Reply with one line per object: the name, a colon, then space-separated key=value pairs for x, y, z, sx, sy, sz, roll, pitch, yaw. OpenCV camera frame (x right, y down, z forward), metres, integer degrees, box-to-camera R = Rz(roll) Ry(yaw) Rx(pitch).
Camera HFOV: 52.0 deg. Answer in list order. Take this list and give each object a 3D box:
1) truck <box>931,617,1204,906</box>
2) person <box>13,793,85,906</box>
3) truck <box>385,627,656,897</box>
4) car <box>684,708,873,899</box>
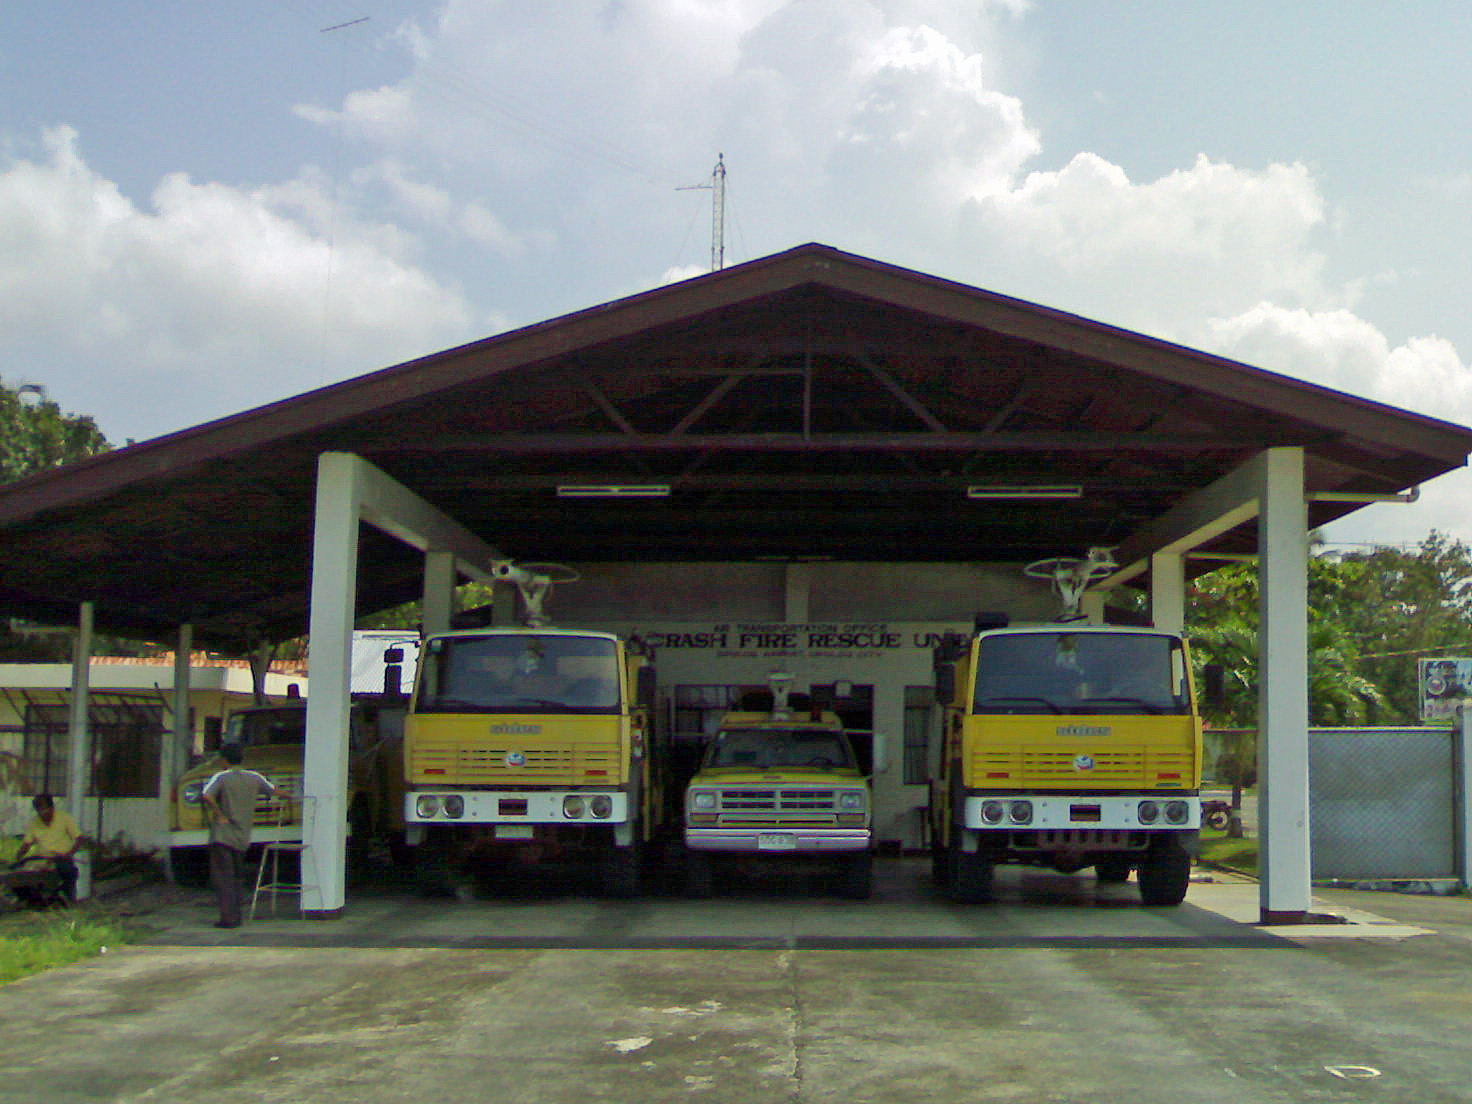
truck: x=3.664 y=2.533 z=17.649 sx=2.201 sy=2.193 sz=3.954 roll=1 pitch=-16 yaw=3
person: x=-7.745 y=3.376 z=17.006 sx=0.543 sy=1.217 sz=0.901 roll=-4 pitch=-11 yaw=15
truck: x=-2.371 y=2.223 z=16.679 sx=2.070 sy=1.966 sz=3.741 roll=0 pitch=-15 yaw=0
car: x=0.474 y=2.960 z=17.507 sx=2.075 sy=2.142 sz=2.222 roll=-1 pitch=-10 yaw=0
